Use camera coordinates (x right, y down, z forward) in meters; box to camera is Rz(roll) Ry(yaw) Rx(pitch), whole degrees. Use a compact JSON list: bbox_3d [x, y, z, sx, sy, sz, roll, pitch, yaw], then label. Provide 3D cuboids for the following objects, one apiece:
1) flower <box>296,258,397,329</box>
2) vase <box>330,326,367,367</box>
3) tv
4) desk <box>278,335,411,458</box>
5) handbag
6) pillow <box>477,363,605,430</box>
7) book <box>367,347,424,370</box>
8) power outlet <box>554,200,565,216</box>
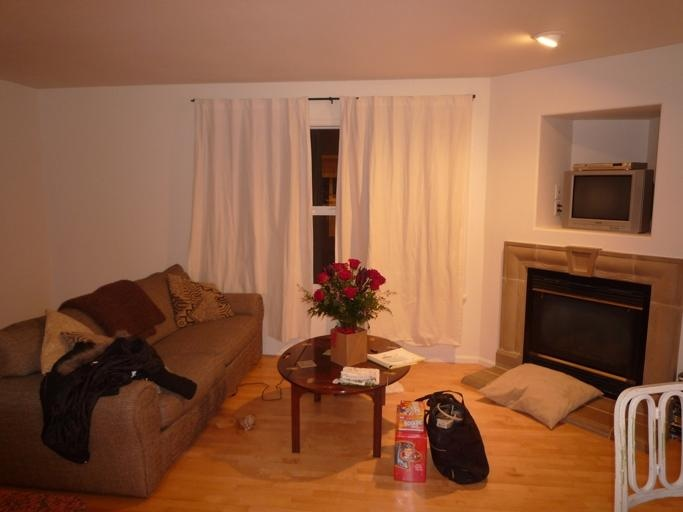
[{"bbox_3d":[0.009,0.309,4.410,0.587,0.569,0.576,-1,8,-28],"label":"flower"},{"bbox_3d":[0.066,0.737,4.392,0.282,0.286,0.290,7,10,41],"label":"vase"},{"bbox_3d":[2.342,-0.495,4.795,0.915,0.723,0.516,6,12,42],"label":"tv"},{"bbox_3d":[-0.066,0.980,4.336,0.899,0.551,0.919,1,10,3],"label":"desk"},{"bbox_3d":[0.920,1.346,4.013,0.433,0.635,0.659,-13,-11,2],"label":"handbag"},{"bbox_3d":[1.765,1.179,4.680,0.585,0.184,0.579,-17,16,-31],"label":"pillow"},{"bbox_3d":[0.429,0.836,4.315,0.216,0.058,0.206,-6,12,-32],"label":"book"},{"bbox_3d":[2.129,-0.471,5.227,0.124,0.139,0.033,2,9,-12],"label":"power outlet"}]
